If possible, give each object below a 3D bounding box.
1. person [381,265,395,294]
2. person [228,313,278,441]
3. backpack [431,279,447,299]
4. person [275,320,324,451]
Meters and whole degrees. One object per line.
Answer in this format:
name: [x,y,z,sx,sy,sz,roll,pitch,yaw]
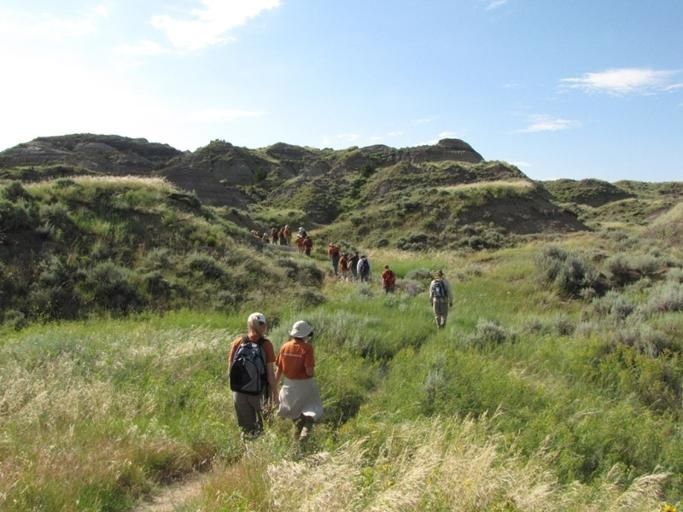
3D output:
person: [1.824,0.784,20.578,0.420,1.354,1.515,3,15,7]
person: [-1.608,2.353,9.880,0.781,2.671,0.844,0,22,-6]
backpack: [2.707,0.950,15.082,0.451,0.770,0.405,-2,-10,18]
person: [-0.788,2.422,9.930,1.025,2.362,0.920,5,11,27]
